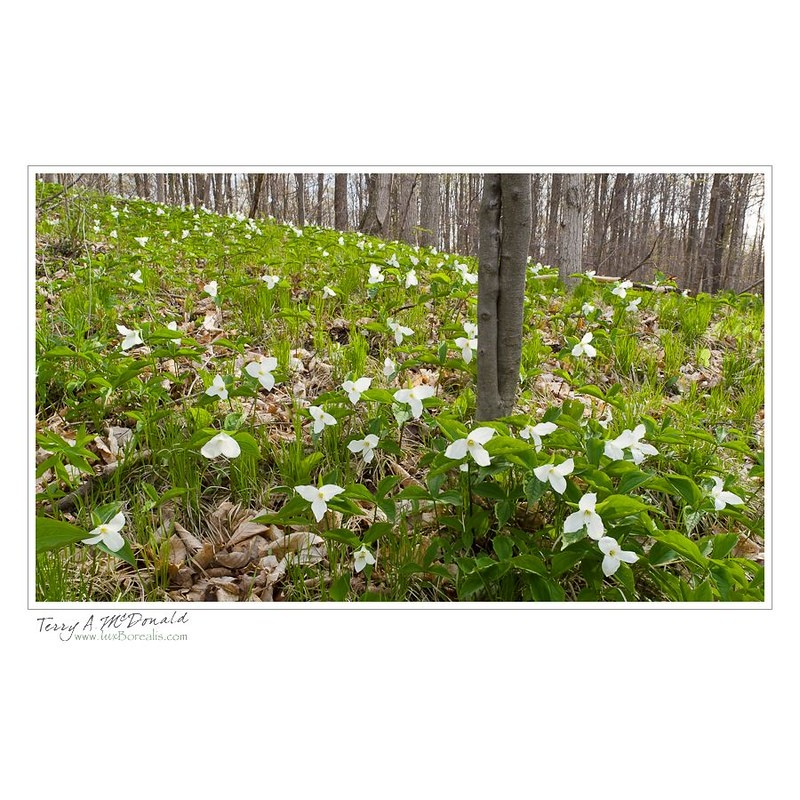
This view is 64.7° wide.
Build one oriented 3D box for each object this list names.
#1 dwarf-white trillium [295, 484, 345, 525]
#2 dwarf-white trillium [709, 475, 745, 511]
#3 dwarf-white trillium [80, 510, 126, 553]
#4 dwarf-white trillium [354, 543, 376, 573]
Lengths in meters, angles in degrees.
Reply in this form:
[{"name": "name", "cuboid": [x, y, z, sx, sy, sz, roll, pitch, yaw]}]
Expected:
[{"name": "dwarf-white trillium", "cuboid": [-0.246, 0.318, 1.949, 0.144, 0.127, 0.103, 1, 13, -5]}, {"name": "dwarf-white trillium", "cuboid": [1.117, 0.334, 2.179, 0.106, 0.038, 0.110, -33, 58, -20]}, {"name": "dwarf-white trillium", "cuboid": [-0.886, 0.406, 1.888, 0.107, 0.109, 0.086, -6, 15, -29]}, {"name": "dwarf-white trillium", "cuboid": [-0.118, 0.542, 2.145, 0.063, 0.045, 0.095, 0, 9, -5]}]
